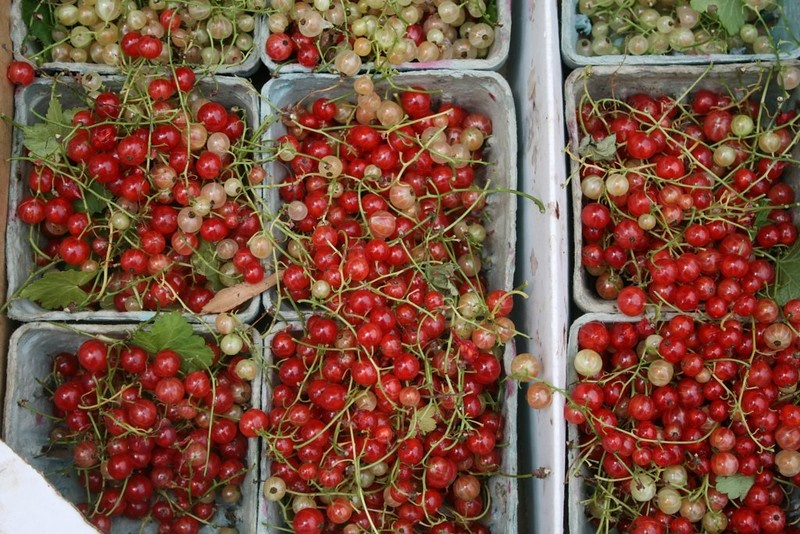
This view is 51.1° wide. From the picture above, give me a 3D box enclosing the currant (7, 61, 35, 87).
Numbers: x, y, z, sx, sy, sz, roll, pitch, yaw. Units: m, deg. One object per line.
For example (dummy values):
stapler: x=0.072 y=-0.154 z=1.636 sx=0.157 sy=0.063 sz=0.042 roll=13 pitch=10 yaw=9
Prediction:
currant: x=-1.002 y=-0.504 z=2.226 sx=0.061 sy=0.066 sz=0.061 roll=7 pitch=6 yaw=-2
